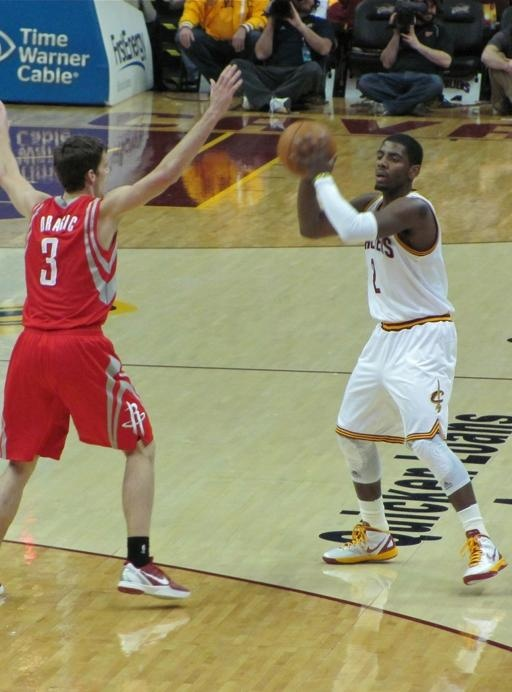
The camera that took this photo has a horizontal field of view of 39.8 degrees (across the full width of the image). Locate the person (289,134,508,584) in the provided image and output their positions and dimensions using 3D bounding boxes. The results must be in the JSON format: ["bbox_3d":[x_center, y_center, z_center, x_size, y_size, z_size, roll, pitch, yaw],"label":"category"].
[{"bbox_3d":[0.522,0.018,2.554,0.648,1.570,0.830,-3,6,-13],"label":"person"}]

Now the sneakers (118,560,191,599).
[{"bbox_3d":[-0.318,0.729,2.212,0.273,0.104,0.091,13,-9,-24],"label":"sneakers"}]

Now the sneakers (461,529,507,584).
[{"bbox_3d":[0.746,0.694,2.315,0.127,0.148,0.162,1,6,18],"label":"sneakers"}]

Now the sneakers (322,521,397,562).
[{"bbox_3d":[0.400,0.735,2.676,0.322,0.140,0.112,0,0,-5],"label":"sneakers"}]

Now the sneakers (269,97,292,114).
[{"bbox_3d":[0.404,-4.097,12.101,0.349,0.233,0.263,-1,5,-3],"label":"sneakers"}]
